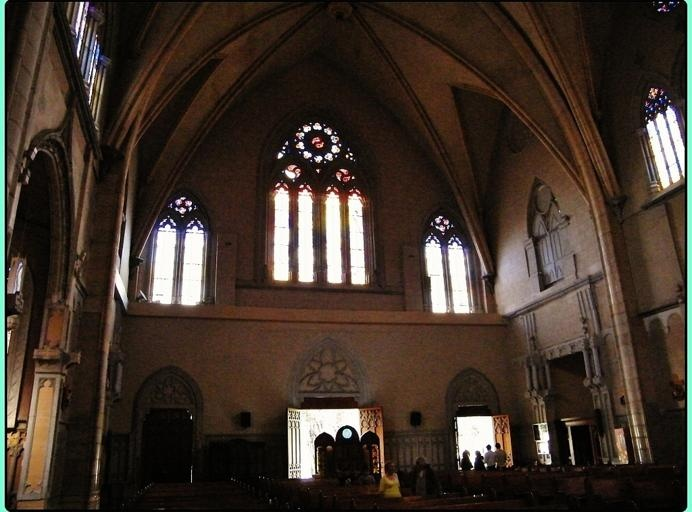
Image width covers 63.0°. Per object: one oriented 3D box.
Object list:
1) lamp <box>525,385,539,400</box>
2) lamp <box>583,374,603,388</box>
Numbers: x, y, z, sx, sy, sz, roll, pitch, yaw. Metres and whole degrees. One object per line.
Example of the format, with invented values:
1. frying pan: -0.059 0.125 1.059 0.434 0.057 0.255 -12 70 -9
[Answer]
1. lamp: 6.782 4.968 20.417 0.354 0.378 0.541 3 -7 -5
2. lamp: 7.862 3.945 17.890 0.278 0.385 0.639 4 -21 -14
